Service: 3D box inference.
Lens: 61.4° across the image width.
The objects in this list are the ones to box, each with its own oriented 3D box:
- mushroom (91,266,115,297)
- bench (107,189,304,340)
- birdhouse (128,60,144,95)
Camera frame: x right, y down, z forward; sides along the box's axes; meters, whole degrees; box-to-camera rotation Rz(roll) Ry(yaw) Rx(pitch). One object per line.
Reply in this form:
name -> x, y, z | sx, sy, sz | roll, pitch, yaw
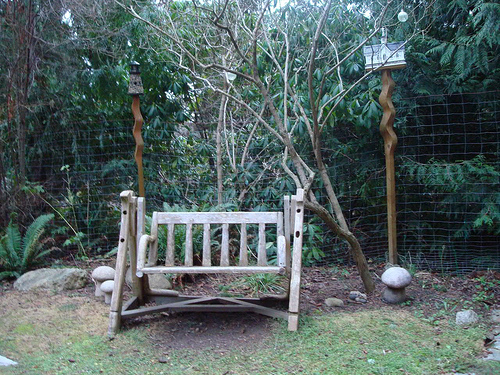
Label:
mushroom -> -1.534, 0.972, 4.510 | 0.288, 0.434, 0.296 | 3, -1, -18
bench -> -0.381, 1.139, 4.314 | 2.111, 1.755, 1.238 | 0, -3, 1
birdhouse -> -1.400, -1.324, 5.084 | 0.167, 0.404, 0.279 | -4, 12, -16
